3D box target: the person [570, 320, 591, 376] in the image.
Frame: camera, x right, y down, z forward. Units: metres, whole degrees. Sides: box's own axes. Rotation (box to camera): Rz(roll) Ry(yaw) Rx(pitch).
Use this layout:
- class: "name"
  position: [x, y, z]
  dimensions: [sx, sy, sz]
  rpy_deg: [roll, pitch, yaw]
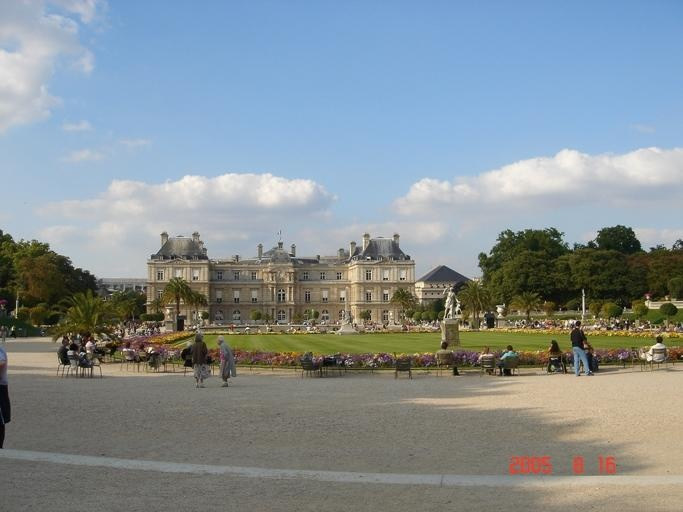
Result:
- class: "person"
  position: [8.517, 3.335, 32.832]
  dimensions: [0.684, 1.100, 2.661]
  rpy_deg: [1, 0, 15]

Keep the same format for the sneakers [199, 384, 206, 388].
- class: "sneakers"
  position: [-4.473, 4.202, 29.587]
  dimensions: [0.104, 0.153, 0.232]
  rpy_deg: [-7, -5, -14]

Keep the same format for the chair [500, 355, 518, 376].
- class: "chair"
  position: [6.012, 3.923, 32.890]
  dimensions: [0.626, 0.713, 0.679]
  rpy_deg: [0, 1, 6]

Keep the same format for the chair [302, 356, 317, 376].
- class: "chair"
  position: [-1.148, 3.968, 33.045]
  dimensions: [0.684, 0.808, 0.730]
  rpy_deg: [0, 1, 11]

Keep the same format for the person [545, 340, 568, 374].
- class: "person"
  position: [7.811, 3.721, 33.732]
  dimensions: [0.775, 1.239, 0.752]
  rpy_deg: [-2, -7, 11]

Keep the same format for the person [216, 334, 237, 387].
- class: "person"
  position: [-3.805, 3.500, 30.546]
  dimensions: [0.565, 1.312, 1.655]
  rpy_deg: [1, 0, -7]

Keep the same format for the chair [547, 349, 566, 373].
- class: "chair"
  position: [7.789, 3.876, 33.512]
  dimensions: [0.620, 0.836, 0.819]
  rpy_deg: [1, 3, 21]

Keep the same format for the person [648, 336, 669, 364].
- class: "person"
  position: [11.708, 3.553, 34.280]
  dimensions: [0.674, 1.192, 2.260]
  rpy_deg: [1, 0, 19]

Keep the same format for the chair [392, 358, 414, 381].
- class: "chair"
  position: [2.158, 3.971, 32.559]
  dimensions: [0.588, 0.938, 0.705]
  rpy_deg: [0, 2, 3]

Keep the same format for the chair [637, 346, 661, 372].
- class: "chair"
  position: [11.545, 3.744, 34.367]
  dimensions: [0.887, 1.176, 0.910]
  rpy_deg: [0, 2, 8]

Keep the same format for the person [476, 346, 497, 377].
- class: "person"
  position: [5.297, 3.863, 33.181]
  dimensions: [0.749, 1.011, 0.876]
  rpy_deg: [1, 3, 19]

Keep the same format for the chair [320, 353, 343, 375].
- class: "chair"
  position: [-0.381, 3.939, 33.475]
  dimensions: [0.753, 0.888, 0.746]
  rpy_deg: [-1, -12, 1]

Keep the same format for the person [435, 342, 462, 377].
- class: "person"
  position: [3.823, 3.845, 34.075]
  dimensions: [0.867, 1.286, 0.816]
  rpy_deg: [-3, -1, 12]

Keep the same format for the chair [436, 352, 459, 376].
- class: "chair"
  position: [3.807, 3.914, 33.614]
  dimensions: [0.719, 0.900, 0.796]
  rpy_deg: [0, 5, 10]

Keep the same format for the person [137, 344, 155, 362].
- class: "person"
  position: [-7.909, 3.977, 37.206]
  dimensions: [0.789, 0.868, 0.682]
  rpy_deg: [-1, -2, 22]

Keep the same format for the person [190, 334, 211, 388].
- class: "person"
  position: [-4.678, 3.390, 30.295]
  dimensions: [0.512, 1.471, 1.909]
  rpy_deg: [1, 0, -9]

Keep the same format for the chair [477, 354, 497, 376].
- class: "chair"
  position: [5.221, 3.893, 33.080]
  dimensions: [0.570, 0.723, 0.724]
  rpy_deg: [0, 3, 10]
